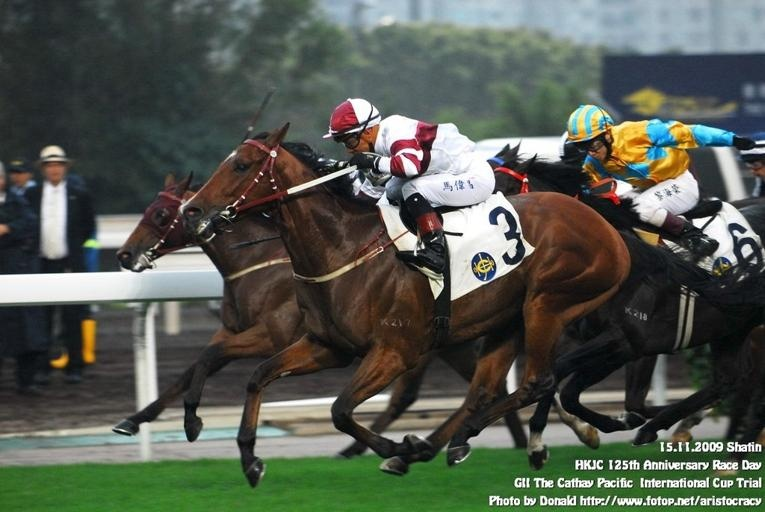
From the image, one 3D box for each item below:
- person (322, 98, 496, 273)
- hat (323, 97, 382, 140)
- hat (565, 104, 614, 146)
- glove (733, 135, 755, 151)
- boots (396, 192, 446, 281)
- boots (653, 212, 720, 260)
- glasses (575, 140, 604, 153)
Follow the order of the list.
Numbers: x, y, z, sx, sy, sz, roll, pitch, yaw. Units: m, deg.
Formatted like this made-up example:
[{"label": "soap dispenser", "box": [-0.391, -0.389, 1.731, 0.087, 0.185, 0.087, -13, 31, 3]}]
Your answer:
[{"label": "person", "box": [0.211, -0.526, 9.730, 0.991, 1.205, 0.726, 7, 12, 30]}, {"label": "hat", "box": [-0.211, -1.017, 9.732, 0.426, 0.176, 0.285, -6, 5, -14]}, {"label": "hat", "box": [1.581, -1.007, 10.121, 0.372, 0.190, 0.276, -29, 23, -28]}, {"label": "glove", "box": [2.696, -0.850, 10.000, 0.106, 0.045, 0.142, 12, 5, -45]}, {"label": "boots", "box": [0.293, -0.161, 9.529, 0.329, 0.559, 0.340, 1, 11, -3]}, {"label": "boots", "box": [2.277, -0.219, 10.153, 0.329, 0.189, 0.545, -5, 24, -41]}, {"label": "glasses", "box": [1.579, -0.832, 10.056, 0.138, 0.056, 0.142, -17, -4, 28]}]
